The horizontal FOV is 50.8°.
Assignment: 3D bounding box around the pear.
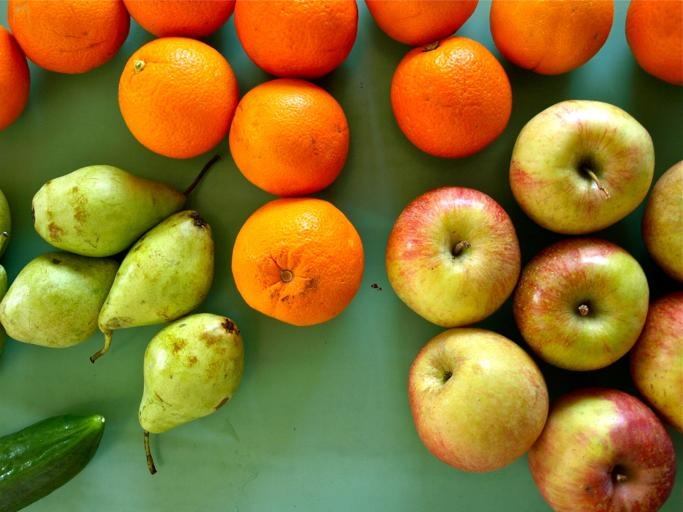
[{"bbox_3d":[-0.397,0.069,1.257,0.304,0.451,0.242,-11,32,-16],"label":"pear"}]
